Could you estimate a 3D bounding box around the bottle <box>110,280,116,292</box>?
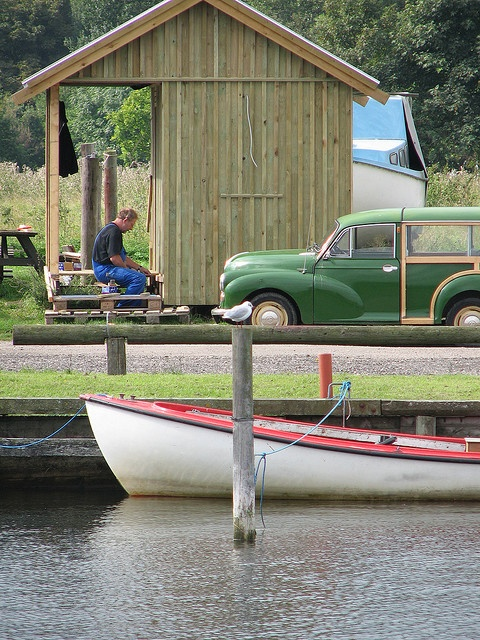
[{"bbox_3d":[-1.724,-0.457,26.673,0.108,0.251,0.130,-1,3,-6],"label":"bottle"}]
